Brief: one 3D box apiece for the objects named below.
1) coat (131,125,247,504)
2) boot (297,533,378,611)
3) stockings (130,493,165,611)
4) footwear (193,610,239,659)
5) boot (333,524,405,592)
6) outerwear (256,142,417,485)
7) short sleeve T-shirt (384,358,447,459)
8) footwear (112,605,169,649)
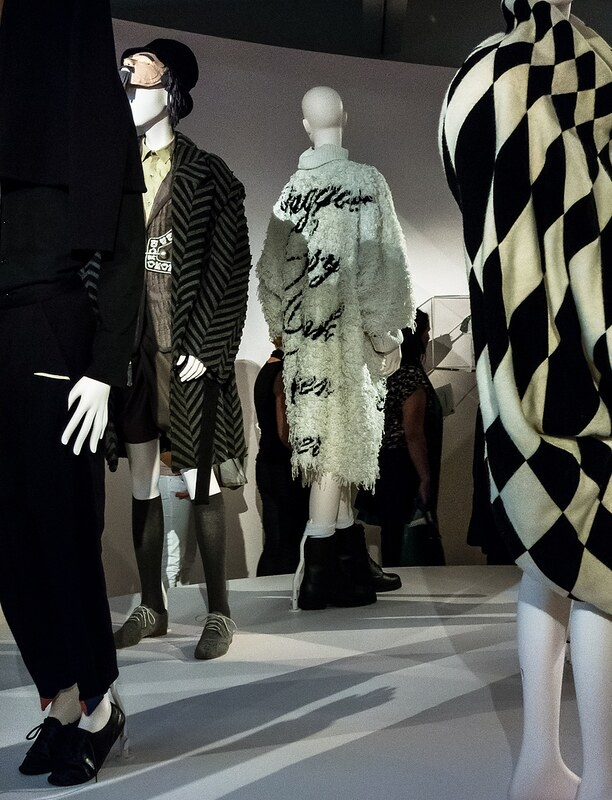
[{"bbox_3d":[-0.253,-0.190,2.028,0.201,0.817,0.345,5,6,15],"label":"coat"},{"bbox_3d":[0.103,0.515,2.315,0.271,0.264,0.121,-1,12,-14],"label":"boot"},{"bbox_3d":[-0.424,0.454,2.023,0.084,0.358,0.146,-3,-13,-12],"label":"stockings"},{"bbox_3d":[-0.232,0.592,1.881,0.077,0.088,0.167,-1,-1,8],"label":"footwear"},{"bbox_3d":[0.208,0.517,2.368,0.209,0.202,0.086,-12,16,38],"label":"boot"},{"bbox_3d":[0.085,-0.264,2.332,0.501,1.063,0.241,-1,-1,1],"label":"outerwear"},{"bbox_3d":[0.426,0.045,2.990,0.225,0.375,0.375,-2,8,-4],"label":"short sleeve T-shirt"},{"bbox_3d":[-0.426,0.604,1.951,0.067,0.076,0.188,-5,-17,16],"label":"footwear"}]
